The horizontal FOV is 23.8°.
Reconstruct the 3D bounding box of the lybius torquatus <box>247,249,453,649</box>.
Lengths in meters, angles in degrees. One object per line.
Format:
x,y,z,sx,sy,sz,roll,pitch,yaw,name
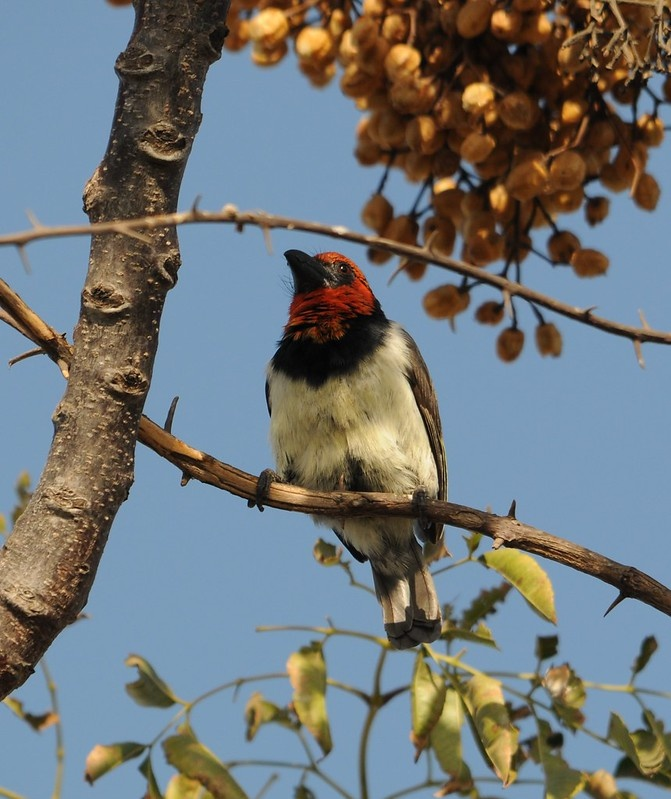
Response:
0.164,0.089,6.122,0.749,1.372,1.454,3,-76,23,lybius torquatus
